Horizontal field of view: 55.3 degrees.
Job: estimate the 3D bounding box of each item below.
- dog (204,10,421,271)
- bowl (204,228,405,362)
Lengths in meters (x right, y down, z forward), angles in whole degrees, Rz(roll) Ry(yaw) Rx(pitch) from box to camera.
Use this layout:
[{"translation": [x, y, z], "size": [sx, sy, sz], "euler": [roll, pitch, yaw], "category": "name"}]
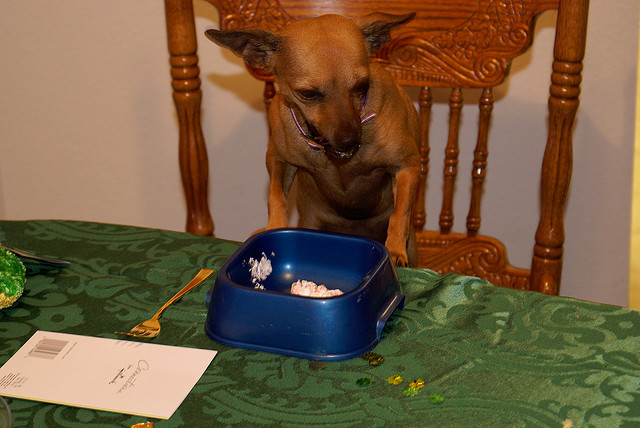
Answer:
[{"translation": [0.016, -0.373, 2.619], "size": [0.598, 1.053, 1.358], "euler": [-5, 23, -1], "category": "dog"}, {"translation": [-0.050, 0.223, 1.515], "size": [0.364, 0.124, 0.362], "euler": [2, 27, -1], "category": "bowl"}]
